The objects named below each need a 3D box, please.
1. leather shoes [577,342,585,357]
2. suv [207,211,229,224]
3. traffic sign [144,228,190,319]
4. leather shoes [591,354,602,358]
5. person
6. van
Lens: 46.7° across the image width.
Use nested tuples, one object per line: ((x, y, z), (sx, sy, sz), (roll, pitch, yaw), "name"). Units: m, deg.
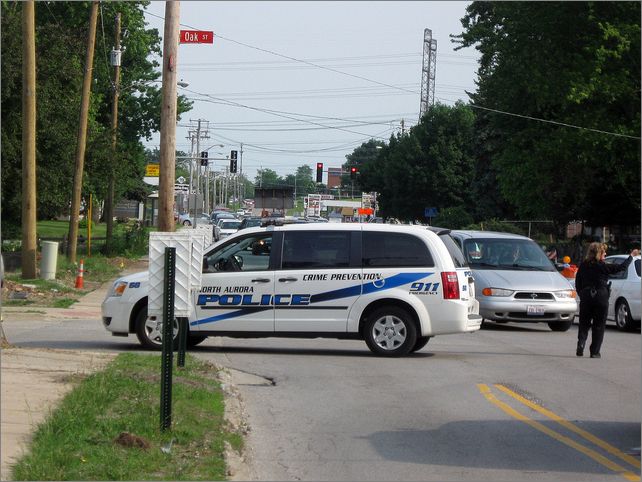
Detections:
((4.725, 1.988, 13.541), (0.120, 0.309, 0.355), (1, 2, 17), "leather shoes")
((-8.748, -2.070, 62.987), (1.441, 1.282, 2.497), (1, -6, -7), "suv")
((-1.657, 0.384, 8.196), (0.467, 0.946, 0.307), (0, 2, -14), "traffic sign")
((5.047, 2.109, 13.636), (0.216, 0.098, 0.080), (-4, 7, -25), "leather shoes")
((4.978, 1.105, 13.494), (0.681, 2.112, 0.493), (1, 2, 20), "person")
((4.555, 0.816, 17.217), (1.792, 1.619, 3.578), (0, -5, -10), "van")
